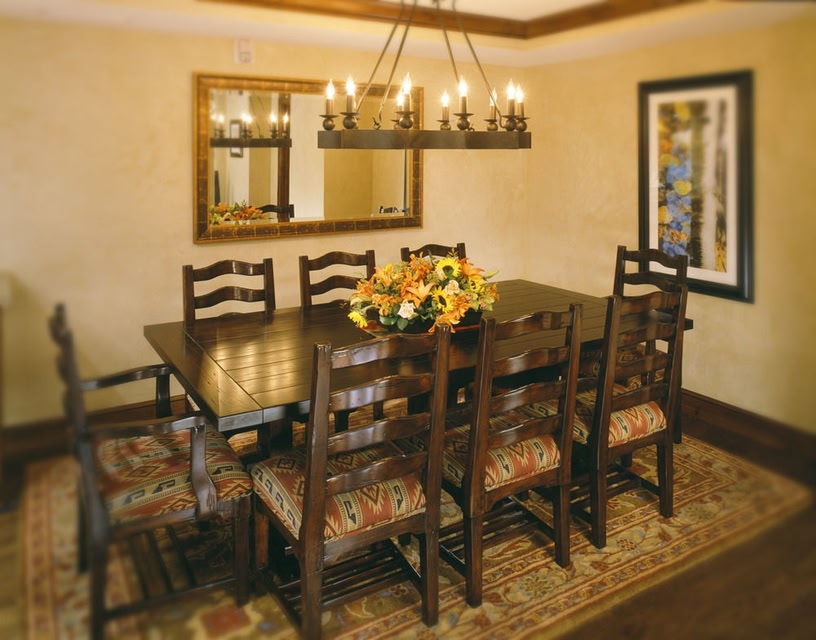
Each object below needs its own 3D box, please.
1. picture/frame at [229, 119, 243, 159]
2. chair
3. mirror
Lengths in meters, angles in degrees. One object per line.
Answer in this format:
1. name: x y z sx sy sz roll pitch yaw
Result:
1. picture/frame: -1.148 -1.203 4.479 0.106 0.246 0.022 -16 21 -38
2. chair: -0.185 0.586 3.130 1.969 0.701 1.030 -6 11 -31
3. mirror: -0.675 -1.156 4.865 2.038 1.095 0.053 -13 25 -43
